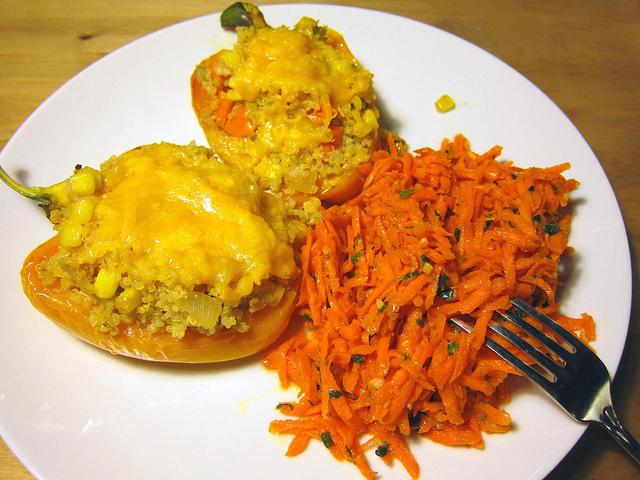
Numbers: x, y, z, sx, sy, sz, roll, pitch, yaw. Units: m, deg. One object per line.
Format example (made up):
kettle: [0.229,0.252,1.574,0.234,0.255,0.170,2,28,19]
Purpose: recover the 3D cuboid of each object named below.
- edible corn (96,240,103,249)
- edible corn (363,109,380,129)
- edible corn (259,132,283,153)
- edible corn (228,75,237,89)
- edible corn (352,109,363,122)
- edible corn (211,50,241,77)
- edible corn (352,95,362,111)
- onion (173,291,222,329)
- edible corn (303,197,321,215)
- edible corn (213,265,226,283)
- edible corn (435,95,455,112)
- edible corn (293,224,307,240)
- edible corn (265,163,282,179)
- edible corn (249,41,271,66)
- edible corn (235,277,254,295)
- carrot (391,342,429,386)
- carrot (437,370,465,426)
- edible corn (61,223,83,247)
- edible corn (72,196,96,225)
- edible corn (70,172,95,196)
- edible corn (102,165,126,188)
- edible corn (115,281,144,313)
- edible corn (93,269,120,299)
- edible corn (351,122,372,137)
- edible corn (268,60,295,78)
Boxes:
edible corn: [-0.920,0.017,2.657,0.022,0.008,0.029,-29,59,-30]
edible corn: [0.237,-0.588,3.112,0.069,0.036,0.090,-40,109,-35]
edible corn: [-0.231,-0.463,3.017,0.098,0.038,0.079,41,106,8]
edible corn: [-0.429,-0.750,3.069,0.030,0.066,0.065,1,105,-11]
edible corn: [0.178,-0.592,3.029,0.036,0.020,0.064,-22,64,-15]
edible corn: [-0.448,-0.869,3.122,0.142,0.046,0.131,-26,85,-1]
edible corn: [0.176,-0.653,3.022,0.059,0.017,0.056,-23,97,-10]
onion: [-0.520,0.262,2.761,0.145,0.174,0.168,-12,116,-32]
edible corn: [-0.040,-0.166,3.091,0.064,0.023,0.082,35,77,2]
edible corn: [-0.428,0.139,2.664,0.054,0.026,0.068,-1,83,-1]
edible corn: [0.648,-0.710,3.326,0.089,0.039,0.076,-26,69,-10]
edible corn: [-0.080,-0.041,3.020,0.066,0.027,0.066,-2,54,-6]
edible corn: [-0.224,-0.329,3.045,0.069,0.025,0.066,-3,98,11]
edible corn: [-0.286,-0.873,3.046,0.125,0.049,0.122,-10,79,4]
edible corn: [-0.325,0.193,2.717,0.065,0.036,0.081,20,69,9]
carrot: [0.424,0.501,2.803,0.096,0.347,0.092,-9,67,7]
carrot: [0.567,0.692,2.793,0.070,0.070,0.261,-21,77,12]
edible corn: [-1.052,-0.019,2.697,0.084,0.051,0.096,0,77,4]
edible corn: [-1.003,-0.126,2.745,0.078,0.064,0.116,16,70,5]
edible corn: [-1.040,-0.245,2.793,0.113,0.070,0.118,-10,67,-3]
edible corn: [-0.902,-0.283,2.808,0.073,0.029,0.114,39,73,16]
edible corn: [-0.814,0.234,2.711,0.078,0.116,0.085,47,73,-7]
edible corn: [-0.901,0.181,2.697,0.080,0.070,0.115,19,109,-9]
edible corn: [0.198,-0.523,3.034,0.080,0.046,0.058,-5,68,2]
edible corn: [-0.177,-0.791,2.943,0.116,0.016,0.090,3,67,2]
